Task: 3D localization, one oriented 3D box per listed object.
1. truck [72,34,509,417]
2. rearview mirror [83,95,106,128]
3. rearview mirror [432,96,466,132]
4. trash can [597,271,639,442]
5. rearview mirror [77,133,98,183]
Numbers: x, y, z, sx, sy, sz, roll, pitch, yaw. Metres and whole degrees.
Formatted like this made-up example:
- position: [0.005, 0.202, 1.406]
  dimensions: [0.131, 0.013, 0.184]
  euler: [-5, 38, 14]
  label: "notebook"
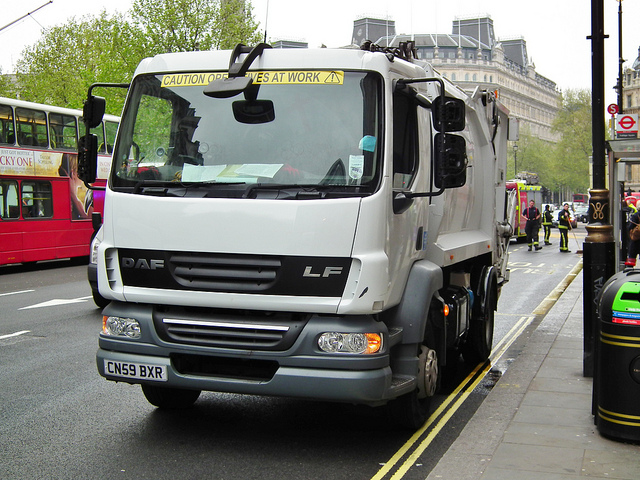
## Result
- position: [0.159, 0.057, 7.756]
  dimensions: [3.270, 3.669, 6.863]
  euler: [2, -5, 14]
  label: "truck"
- position: [-2.218, -1.290, 5.305]
  dimensions: [0.149, 0.295, 0.179]
  euler: [35, 27, 27]
  label: "rearview mirror"
- position: [1.094, -1.082, 4.691]
  dimensions: [0.272, 0.282, 0.151]
  euler: [-1, 7, -18]
  label: "rearview mirror"
- position: [2.621, 1.022, 4.736]
  dimensions: [0.316, 1.408, 0.192]
  euler: [2, 3, 37]
  label: "trash can"
- position: [-2.301, -0.805, 5.319]
  dimensions: [0.140, 0.468, 0.125]
  euler: [3, 2, 2]
  label: "rearview mirror"
